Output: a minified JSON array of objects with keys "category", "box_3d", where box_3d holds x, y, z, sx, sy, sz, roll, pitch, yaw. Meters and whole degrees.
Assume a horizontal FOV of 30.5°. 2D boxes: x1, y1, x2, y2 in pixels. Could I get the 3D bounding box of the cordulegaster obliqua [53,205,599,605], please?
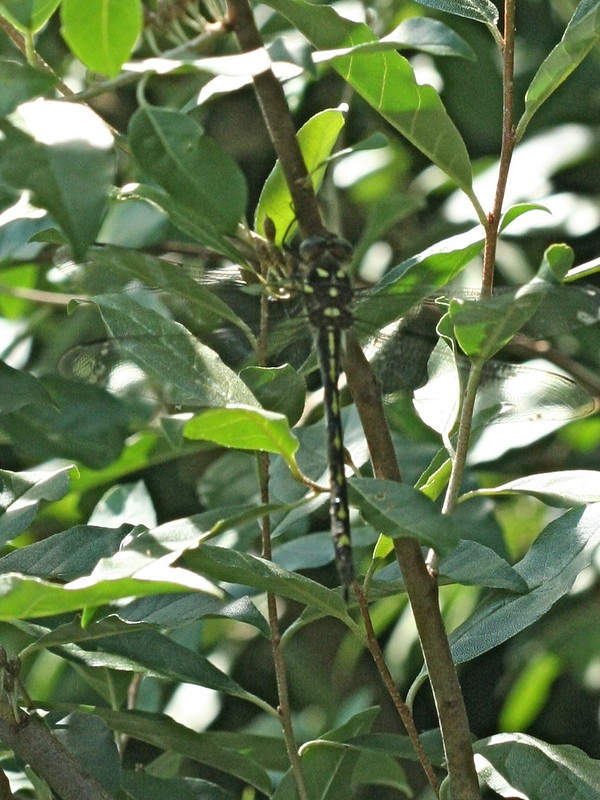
[{"category":"cordulegaster obliqua","box_3d":[0.126,0.038,1.493,0.745,0.460,0.288,3,-11,-3]}]
